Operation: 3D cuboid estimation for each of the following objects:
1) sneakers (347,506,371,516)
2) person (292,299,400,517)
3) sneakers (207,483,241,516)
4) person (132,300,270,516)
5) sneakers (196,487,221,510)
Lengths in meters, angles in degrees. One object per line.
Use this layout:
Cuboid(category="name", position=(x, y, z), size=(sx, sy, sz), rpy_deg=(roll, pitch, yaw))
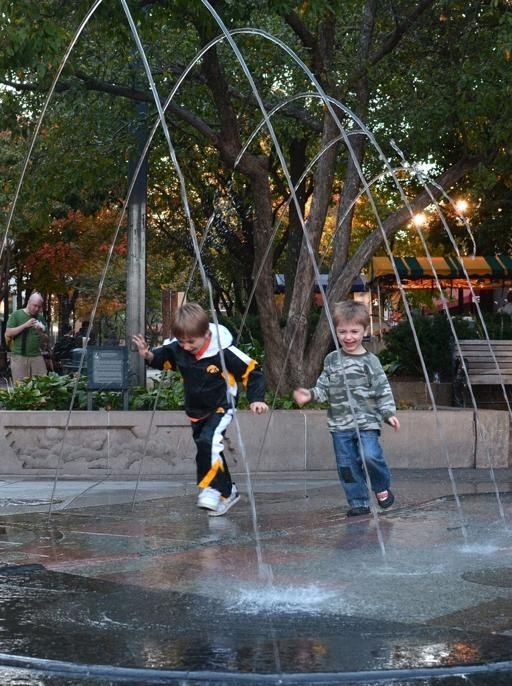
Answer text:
Cuboid(category="sneakers", position=(0.653, 1.072, 5.492), size=(0.169, 0.065, 0.055), rpy_deg=(8, -10, -33))
Cuboid(category="person", position=(0.585, 0.387, 5.402), size=(0.574, 1.356, 0.876), rpy_deg=(-9, -16, 8))
Cuboid(category="sneakers", position=(-0.186, 1.037, 5.643), size=(0.103, 0.120, 0.301), rpy_deg=(1, 8, 24))
Cuboid(category="person", position=(-0.318, 0.361, 5.266), size=(0.770, 1.317, 1.068), rpy_deg=(-6, -16, -1))
Cuboid(category="sneakers", position=(-0.289, 0.956, 5.266), size=(0.099, 0.115, 0.178), rpy_deg=(2, -22, 0))
